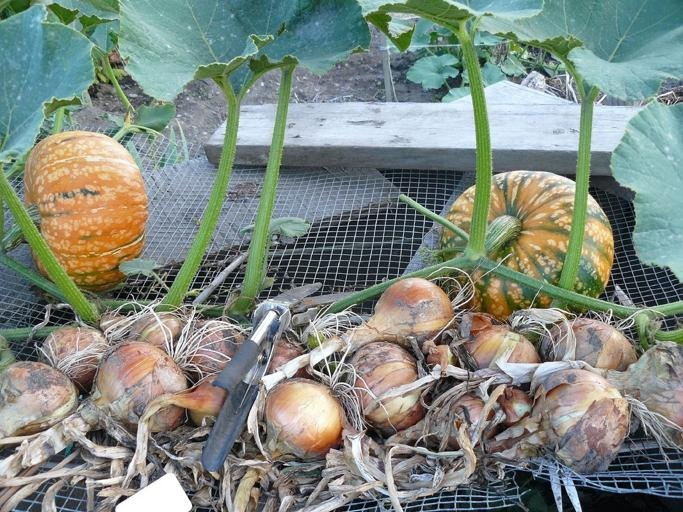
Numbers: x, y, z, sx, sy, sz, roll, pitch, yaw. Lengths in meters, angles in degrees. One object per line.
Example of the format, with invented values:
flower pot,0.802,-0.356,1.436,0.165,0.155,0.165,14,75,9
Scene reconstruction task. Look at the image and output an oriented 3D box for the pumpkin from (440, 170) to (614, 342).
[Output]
pumpkin,0.641,-0.006,1.977,0.560,0.526,0.468,19,94,33
